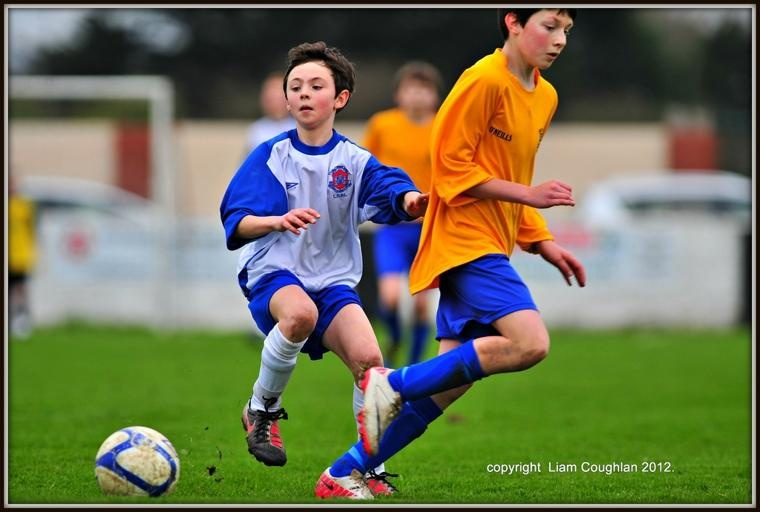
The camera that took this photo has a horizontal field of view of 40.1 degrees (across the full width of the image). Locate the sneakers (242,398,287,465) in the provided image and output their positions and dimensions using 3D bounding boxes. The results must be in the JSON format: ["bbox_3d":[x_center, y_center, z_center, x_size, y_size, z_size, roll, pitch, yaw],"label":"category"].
[{"bbox_3d":[-0.917,1.472,8.519,0.237,0.288,0.645,-2,42,-35],"label":"sneakers"}]

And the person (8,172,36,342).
[{"bbox_3d":[-4.990,0.109,14.523,0.347,2.035,1.335,-2,8,-17],"label":"person"}]

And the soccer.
[{"bbox_3d":[-1.903,1.652,8.251,0.582,0.554,0.556,-11,-20,-33],"label":"soccer"}]
